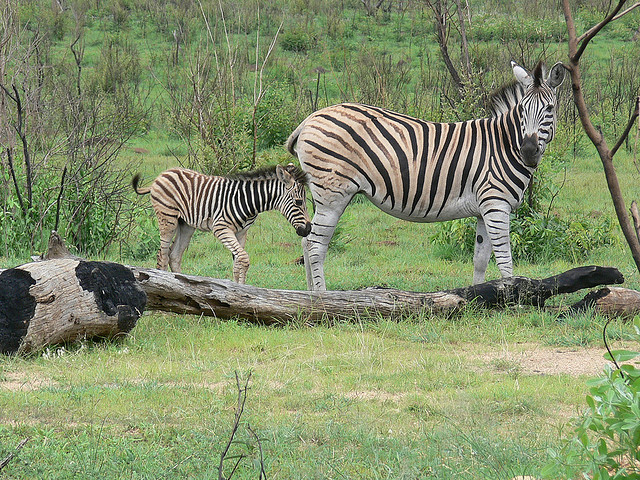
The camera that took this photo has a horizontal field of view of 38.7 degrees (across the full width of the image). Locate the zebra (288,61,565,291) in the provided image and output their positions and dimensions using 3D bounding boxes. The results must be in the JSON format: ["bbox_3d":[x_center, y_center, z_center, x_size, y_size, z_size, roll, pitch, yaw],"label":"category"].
[{"bbox_3d":[1.434,-0.734,12.615,3.687,3.393,1.510,-1,-3,19],"label":"zebra"}]

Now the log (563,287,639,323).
[{"bbox_3d":[3.705,0.799,12.027,0.758,0.298,0.460,-3,13,11],"label":"log"}]
